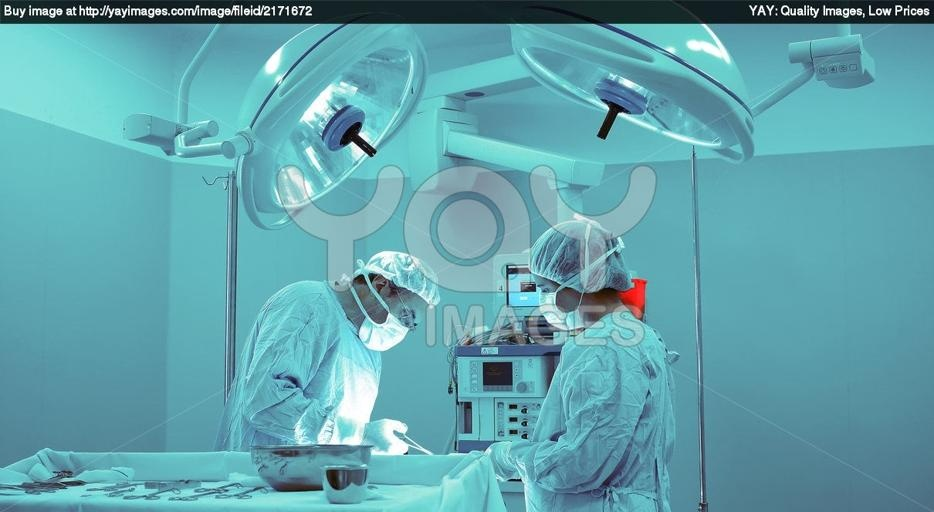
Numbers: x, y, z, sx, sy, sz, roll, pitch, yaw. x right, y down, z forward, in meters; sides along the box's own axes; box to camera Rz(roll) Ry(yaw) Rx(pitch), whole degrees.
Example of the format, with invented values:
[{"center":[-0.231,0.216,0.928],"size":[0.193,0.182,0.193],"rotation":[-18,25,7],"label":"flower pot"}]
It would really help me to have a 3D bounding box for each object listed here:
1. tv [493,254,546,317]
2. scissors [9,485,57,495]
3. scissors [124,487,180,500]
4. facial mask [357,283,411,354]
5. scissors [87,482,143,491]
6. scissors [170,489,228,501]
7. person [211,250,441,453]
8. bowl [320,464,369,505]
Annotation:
[{"center":[0.408,0.238,6.803],"size":[0.475,0.457,0.192],"rotation":[-4,4,12],"label":"tv"},{"center":[-2.394,1.280,4.527],"size":[0.252,0.044,0.089],"rotation":[0,-11,-4],"label":"scissors"},{"center":[-1.695,1.293,4.503],"size":[0.091,0.027,0.142],"rotation":[-1,0,9],"label":"scissors"},{"center":[-0.580,0.455,5.630],"size":[0.259,0.438,0.361],"rotation":[-45,-9,-7],"label":"facial mask"},{"center":[-1.949,1.288,4.613],"size":[0.255,0.024,0.072],"rotation":[-1,25,-1],"label":"scissors"},{"center":[-1.439,1.292,4.470],"size":[0.087,0.008,0.180],"rotation":[0,-1,31],"label":"scissors"},{"center":[-0.917,0.633,5.488],"size":[0.936,1.486,1.148],"rotation":[0,-1,-42],"label":"person"},{"center":[-0.633,1.204,4.356],"size":[0.178,0.145,0.225],"rotation":[-10,-16,35],"label":"bowl"}]
